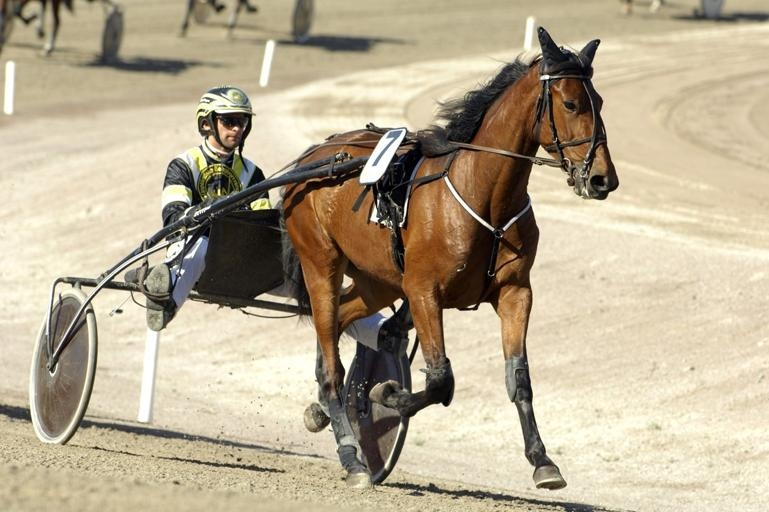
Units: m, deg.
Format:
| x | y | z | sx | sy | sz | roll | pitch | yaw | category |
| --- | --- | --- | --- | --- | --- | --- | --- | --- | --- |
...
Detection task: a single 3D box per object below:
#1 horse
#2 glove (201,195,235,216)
| x | y | z | sx | sy | sz | roll | pitch | yaw | category |
| --- | --- | --- | --- | --- | --- | --- | --- | --- | --- |
| 0.499 | 0.250 | 15.930 | 1.864 | 5.187 | 6.398 | 3 | -1 | -31 | horse |
| -1.915 | -0.602 | 15.613 | 0.345 | 0.234 | 0.283 | 6 | 7 | -1 | glove |
